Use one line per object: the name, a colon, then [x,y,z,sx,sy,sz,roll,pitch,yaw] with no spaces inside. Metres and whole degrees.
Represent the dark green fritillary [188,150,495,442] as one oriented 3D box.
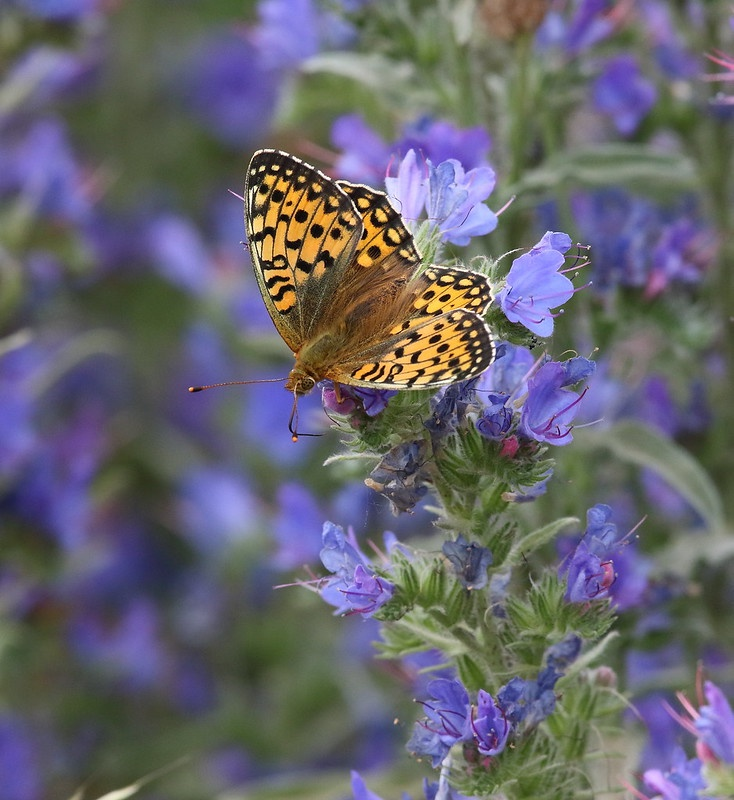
dark green fritillary: [0.010,-0.098,1.251,0.337,0.169,0.311,1,68,25]
